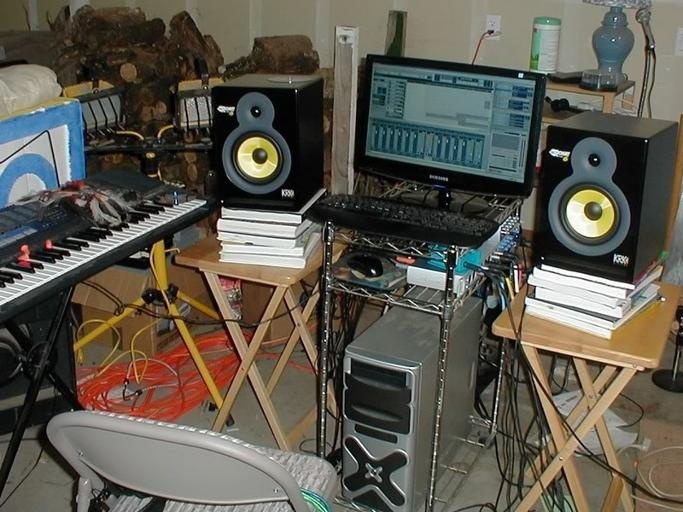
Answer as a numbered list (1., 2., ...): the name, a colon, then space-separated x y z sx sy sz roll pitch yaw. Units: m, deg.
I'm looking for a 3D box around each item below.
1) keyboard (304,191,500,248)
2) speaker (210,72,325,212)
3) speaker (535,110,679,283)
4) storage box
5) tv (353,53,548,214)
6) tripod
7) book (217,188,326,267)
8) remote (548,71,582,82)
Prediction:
1. keyboard: 0.209 -0.124 2.079 0.664 0.093 0.262 10 23 19
2. speaker: -0.307 -0.473 2.280 0.357 0.469 0.404 -3 31 -11
3. speaker: 0.879 -0.206 1.939 0.342 0.468 0.418 17 25 35
4. storage box: -0.771 0.140 2.560 0.358 0.443 0.450 5 22 13
5. tv: 0.425 -0.481 2.349 0.835 0.619 0.123 11 13 19
6. tripod: -0.974 0.178 2.864 0.848 0.688 0.848 8 56 -30
7. book: -0.284 -0.070 2.210 0.284 0.153 0.306 4 25 11
8. remote: 1.285 -1.034 3.380 0.183 0.050 0.275 9 22 17
